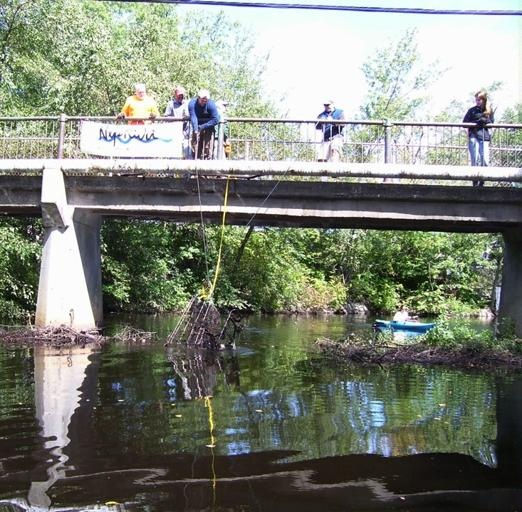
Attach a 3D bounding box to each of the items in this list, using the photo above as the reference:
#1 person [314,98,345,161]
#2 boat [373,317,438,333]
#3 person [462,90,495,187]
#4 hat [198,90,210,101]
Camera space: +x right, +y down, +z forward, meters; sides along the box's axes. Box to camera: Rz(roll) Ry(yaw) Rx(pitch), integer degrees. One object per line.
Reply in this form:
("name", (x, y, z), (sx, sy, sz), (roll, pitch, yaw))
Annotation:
("person", (1.541, -2.800, 20.418), (0.647, 1.356, 1.957), (3, 10, 4))
("boat", (4.320, 2.199, 28.308), (2.334, 0.483, 0.709), (-1, -2, 27))
("person", (4.860, -2.645, 20.507), (0.637, 2.157, 1.157), (5, 11, 14))
("hat", (-1.275, -3.578, 20.196), (0.214, 0.276, 0.272), (1, 4, -7))
